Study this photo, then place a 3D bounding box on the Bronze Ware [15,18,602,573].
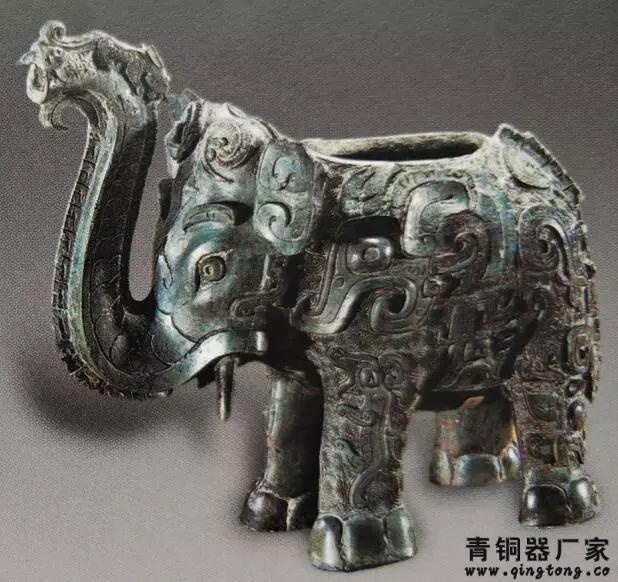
[{"bbox_3d":[0.029,0.037,3.296,1.834,1.261,0.650,2,0,-40],"label":"Bronze Ware"}]
